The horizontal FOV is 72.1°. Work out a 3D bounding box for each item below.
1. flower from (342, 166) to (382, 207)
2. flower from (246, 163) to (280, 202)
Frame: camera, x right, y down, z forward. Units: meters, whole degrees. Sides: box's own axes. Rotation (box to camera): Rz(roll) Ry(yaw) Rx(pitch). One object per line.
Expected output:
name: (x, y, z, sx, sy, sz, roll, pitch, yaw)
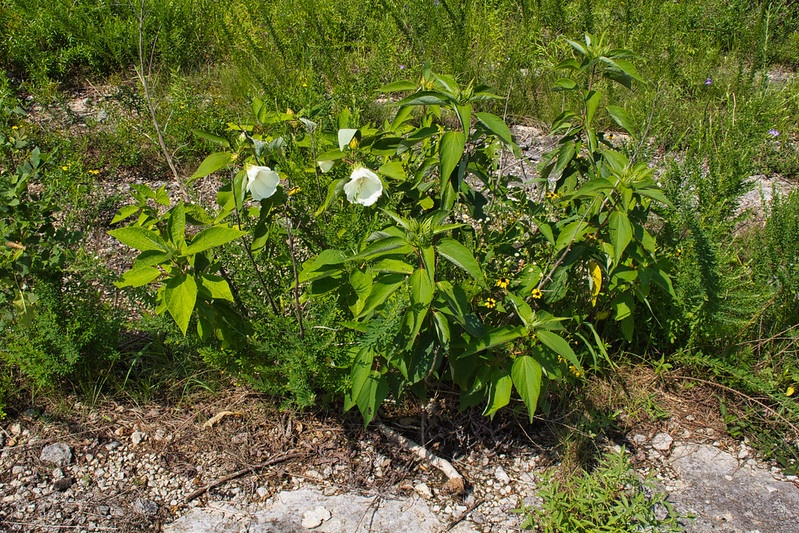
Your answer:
flower: (-0.190, -0.428, 3.000, 0.179, 0.222, 0.107, 5, 21, 4)
flower: (-0.705, -0.458, 2.804, 0.126, 0.091, 0.140, 41, 38, 14)
